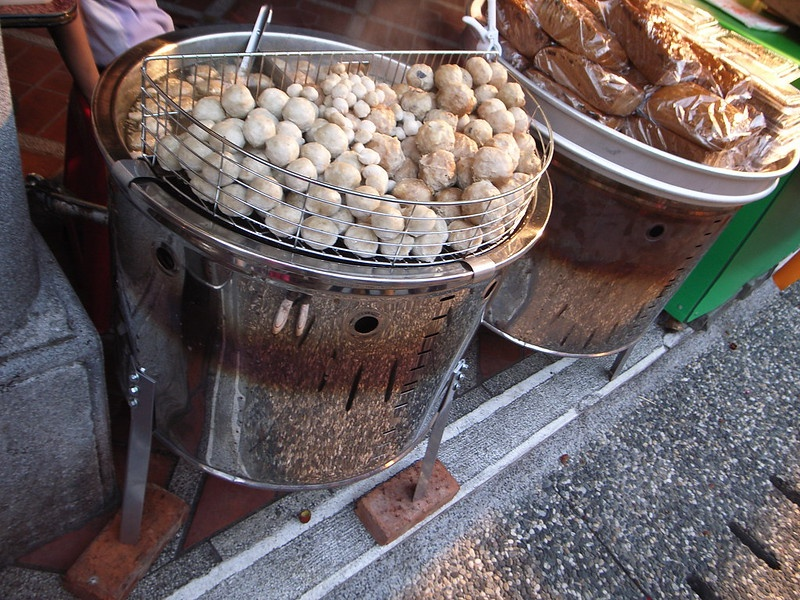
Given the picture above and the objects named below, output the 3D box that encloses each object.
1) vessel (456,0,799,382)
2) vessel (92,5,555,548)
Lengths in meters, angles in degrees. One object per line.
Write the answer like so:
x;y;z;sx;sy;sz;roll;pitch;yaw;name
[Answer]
0.869;-0.464;3.221;1.533;1.450;1.547;36;48;25;vessel
-0.325;-0.141;2.231;1.443;1.013;1.343;10;40;-12;vessel
